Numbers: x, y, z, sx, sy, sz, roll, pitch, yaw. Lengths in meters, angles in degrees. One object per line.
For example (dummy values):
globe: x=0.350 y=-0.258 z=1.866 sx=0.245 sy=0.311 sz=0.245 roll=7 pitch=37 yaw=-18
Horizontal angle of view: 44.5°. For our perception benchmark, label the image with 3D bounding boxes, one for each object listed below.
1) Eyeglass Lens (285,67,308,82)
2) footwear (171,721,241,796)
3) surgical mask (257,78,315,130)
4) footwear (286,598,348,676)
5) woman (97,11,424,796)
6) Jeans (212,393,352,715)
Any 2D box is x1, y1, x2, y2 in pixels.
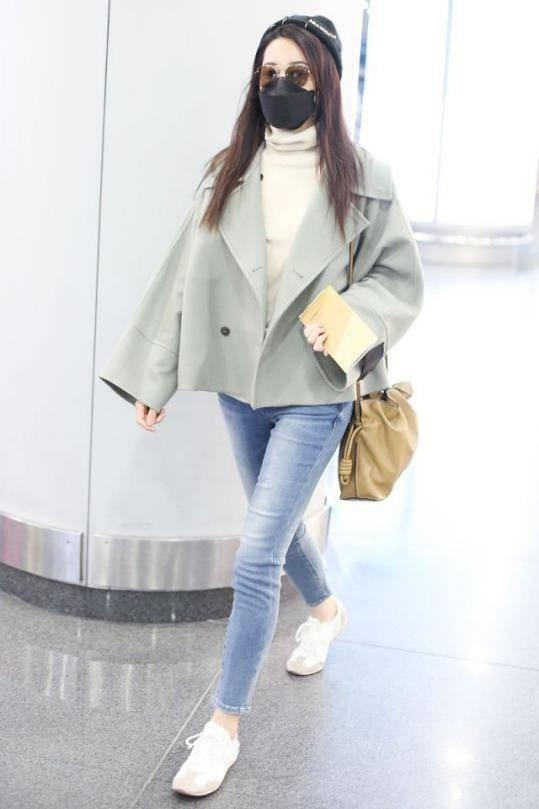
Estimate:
Eyeglass Lens: x=0.052 y=-0.626 z=1.246 sx=0.031 sy=0.036 sz=0.015 roll=1 pitch=-18 yaw=4
footwear: x=-0.117 y=0.647 z=1.207 sx=0.055 sy=0.069 sz=0.152 roll=11 pitch=5 yaw=15
surgical mask: x=0.028 y=-0.591 z=1.301 sx=0.122 sy=0.098 sz=0.135 roll=14 pitch=25 yaw=24
footwear: x=0.120 y=0.623 z=1.785 sx=0.080 sy=0.087 sz=0.236 roll=-6 pitch=36 yaw=39
woman: x=0.044 y=-0.024 z=1.387 sx=0.646 sy=1.479 sz=0.563 roll=-6 pitch=13 yaw=-38
Jeans: x=0.026 y=0.276 z=1.436 sx=0.279 sy=0.583 sz=0.473 roll=1 pitch=3 yaw=-5
